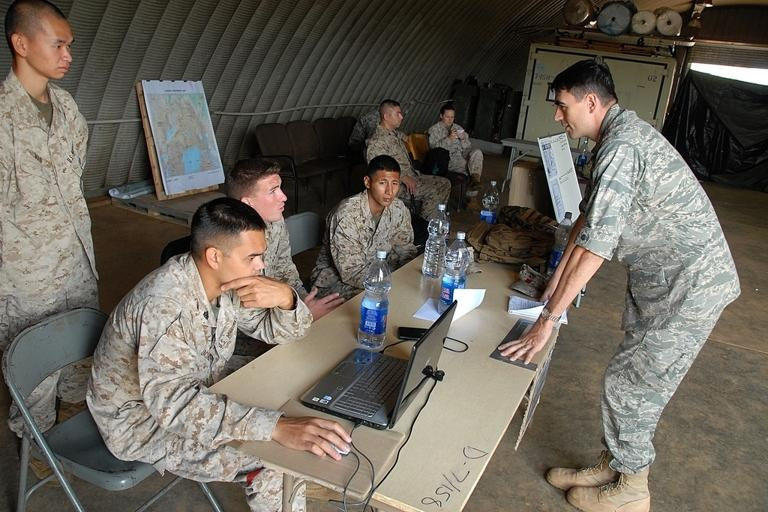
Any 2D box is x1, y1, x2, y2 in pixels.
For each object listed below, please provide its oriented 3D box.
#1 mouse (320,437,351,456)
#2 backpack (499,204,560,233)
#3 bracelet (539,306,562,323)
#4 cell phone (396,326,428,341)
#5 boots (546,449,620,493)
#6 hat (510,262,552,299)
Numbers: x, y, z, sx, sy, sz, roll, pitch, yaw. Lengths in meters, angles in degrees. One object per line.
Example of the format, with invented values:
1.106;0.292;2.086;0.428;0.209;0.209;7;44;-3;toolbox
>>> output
-0.196;0.823;2.212;0.096;0.021;0.057;24;43;11;mouse
1.215;-0.306;4.343;0.380;0.134;0.289;12;16;27;backpack
0.928;0.336;2.857;0.116;0.071;0.117;15;-2;15;bracelet
0.153;0.443;2.905;0.189;0.039;0.123;3;14;4;cell phone
1.197;1.414;3.306;0.566;0.221;0.178;5;28;15;boots
1.011;0.180;3.542;0.282;0.098;0.199;24;67;28;hat
